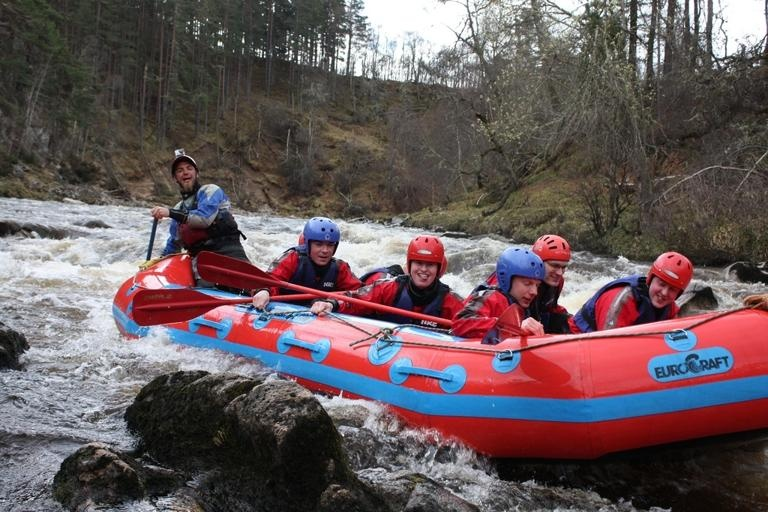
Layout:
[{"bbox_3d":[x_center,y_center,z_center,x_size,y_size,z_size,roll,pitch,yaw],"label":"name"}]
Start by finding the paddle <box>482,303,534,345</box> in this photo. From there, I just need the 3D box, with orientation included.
[{"bbox_3d":[1.854,1.000,11.051,0.686,0.480,0.211,-42,4,46],"label":"paddle"}]

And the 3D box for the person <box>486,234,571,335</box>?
[{"bbox_3d":[2.461,0.518,12.505,1.120,1.759,1.447,5,-7,-5],"label":"person"}]

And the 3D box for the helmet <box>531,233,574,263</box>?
[{"bbox_3d":[2.776,-0.125,12.175,0.400,0.506,0.530,13,24,-27],"label":"helmet"}]
